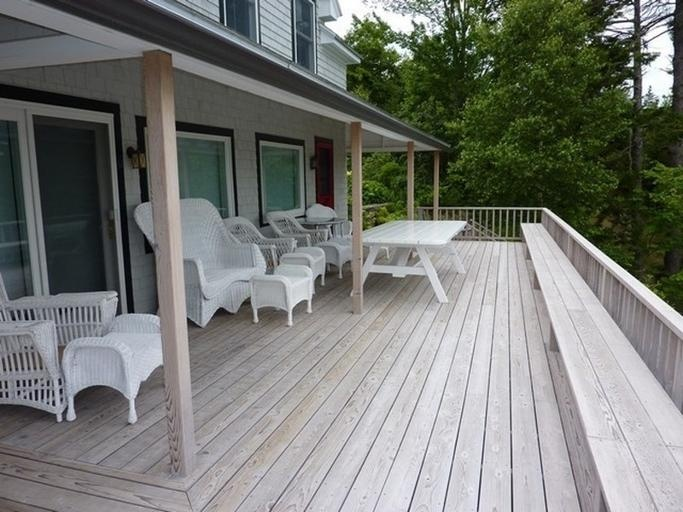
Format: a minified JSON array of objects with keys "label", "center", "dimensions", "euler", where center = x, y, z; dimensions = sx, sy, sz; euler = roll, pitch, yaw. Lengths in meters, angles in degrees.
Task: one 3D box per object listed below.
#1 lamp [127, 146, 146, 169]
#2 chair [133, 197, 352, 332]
[{"label":"lamp","center":[-2.232,-1.074,5.322],"dimensions":[0.119,0.250,0.224],"euler":[2,14,14]},{"label":"chair","center":[-1.415,0.024,5.682],"dimensions":[1.412,1.370,1.224],"euler":[7,12,35]}]
